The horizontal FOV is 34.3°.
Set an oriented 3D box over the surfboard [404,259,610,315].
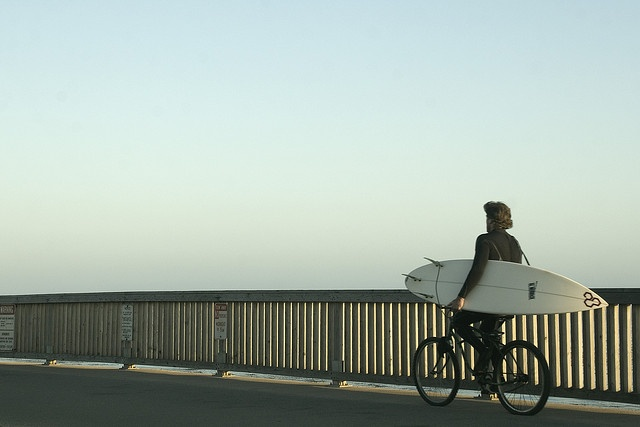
[{"bbox_3d":[2.705,1.090,15.501,3.219,0.783,0.667,6,-3,22],"label":"surfboard"}]
